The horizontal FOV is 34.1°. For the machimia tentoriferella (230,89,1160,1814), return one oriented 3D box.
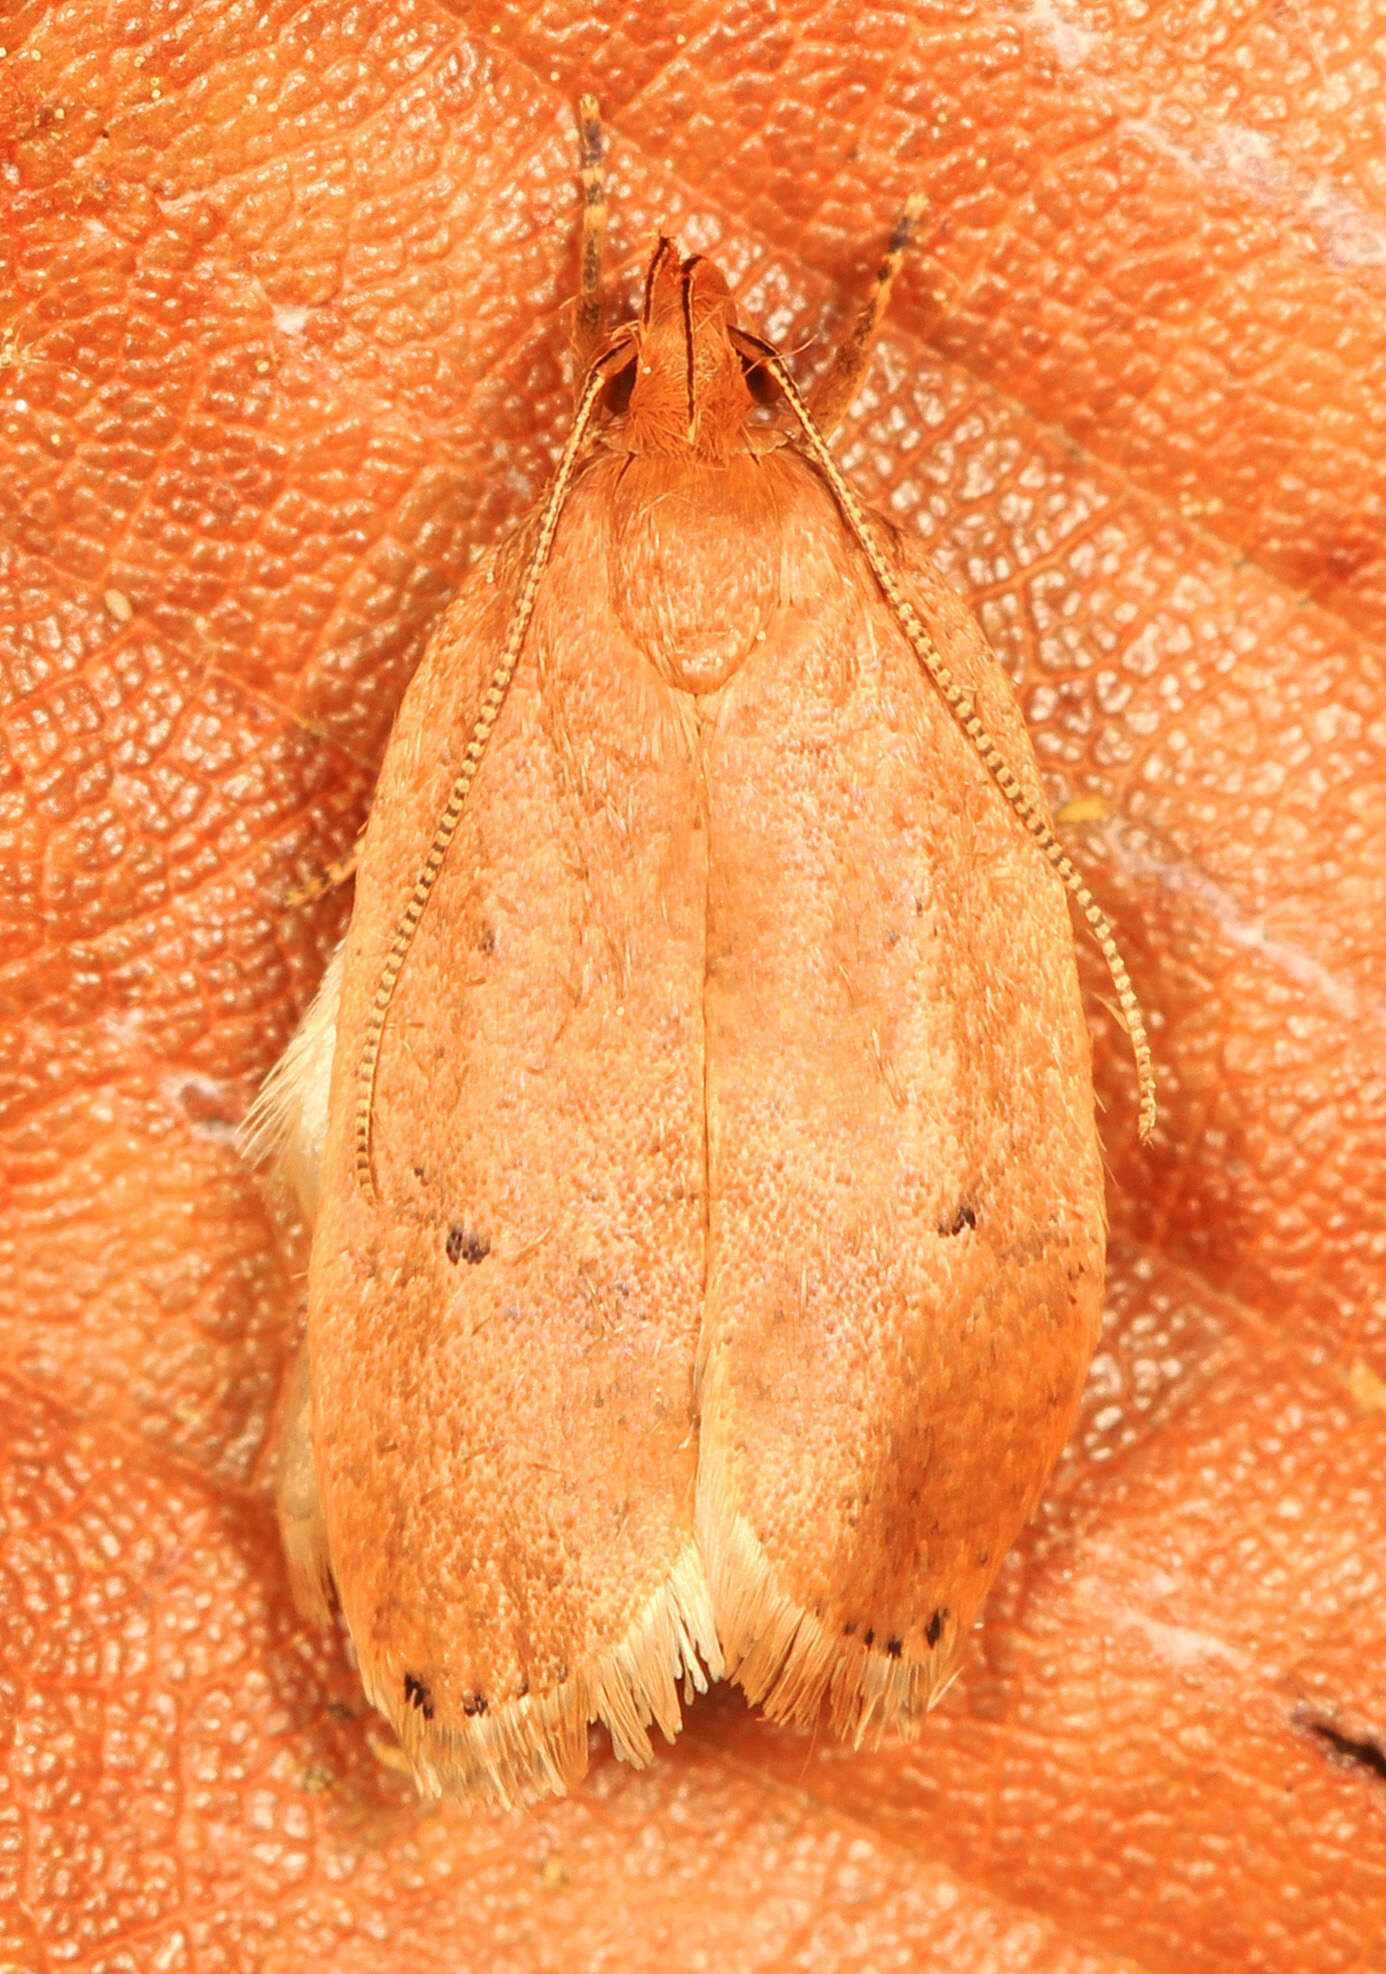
[{"bbox_3d":[0.009,0.077,1.950,0.703,0.261,1.248,1,85,1],"label":"machimia tentoriferella"}]
